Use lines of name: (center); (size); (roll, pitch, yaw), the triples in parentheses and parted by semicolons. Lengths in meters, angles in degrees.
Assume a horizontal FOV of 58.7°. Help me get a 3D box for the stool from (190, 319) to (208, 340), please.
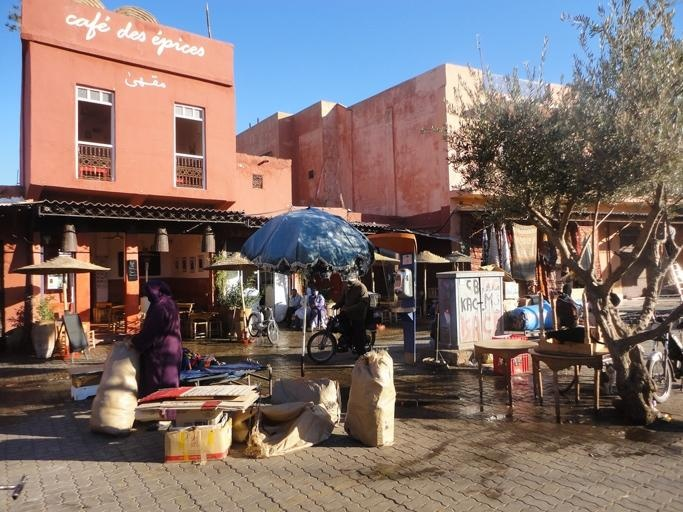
stool: (-4.725, 2.414, 19.980); (0.541, 0.594, 0.561); (-1, 2, -21)

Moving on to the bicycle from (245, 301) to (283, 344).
bicycle: (-2.534, 2.156, 19.631); (0.930, 1.157, 1.794); (-5, -18, 27)

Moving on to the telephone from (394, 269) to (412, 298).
telephone: (1.478, 0.640, 14.084); (0.478, 0.654, 0.315); (-3, 10, -10)

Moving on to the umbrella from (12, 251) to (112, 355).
umbrella: (-7.595, 0.844, 16.573); (2.101, 2.011, 2.179); (13, 16, 23)

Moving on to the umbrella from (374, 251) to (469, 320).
umbrella: (2.343, 1.038, 21.665); (2.407, 1.690, 2.479); (-2, -2, 29)

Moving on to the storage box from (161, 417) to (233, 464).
storage box: (-2.157, 2.819, 9.076); (0.646, 0.366, 0.672); (0, -1, -19)

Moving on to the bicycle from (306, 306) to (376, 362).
bicycle: (0.063, 1.895, 15.361); (2.148, 1.422, 1.087); (-3, -2, -35)

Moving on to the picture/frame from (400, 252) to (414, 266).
picture/frame: (1.546, 0.112, 14.342); (0.407, 0.383, 0.207); (-5, -9, 44)

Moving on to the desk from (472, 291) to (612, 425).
desk: (3.919, 1.701, 10.601); (2.202, 1.196, 1.657); (0, 3, 38)

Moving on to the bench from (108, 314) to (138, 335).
bench: (-7.342, 2.303, 20.234); (0.968, 0.692, 1.703); (0, -5, -7)

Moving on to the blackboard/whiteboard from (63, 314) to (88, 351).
blackboard/whiteboard: (-6.665, 1.943, 15.100); (0.291, 1.099, 0.738); (-20, -14, 33)

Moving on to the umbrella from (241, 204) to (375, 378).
umbrella: (-0.674, 0.515, 12.948); (2.893, 3.757, 3.022); (0, 4, -5)

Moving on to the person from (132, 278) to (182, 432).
person: (-3.140, 1.414, 10.357); (0.884, 1.899, 0.821); (-10, 13, -42)
